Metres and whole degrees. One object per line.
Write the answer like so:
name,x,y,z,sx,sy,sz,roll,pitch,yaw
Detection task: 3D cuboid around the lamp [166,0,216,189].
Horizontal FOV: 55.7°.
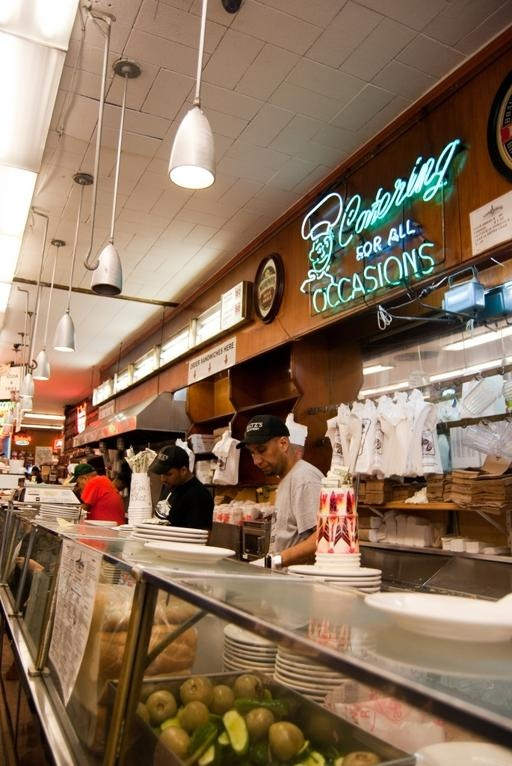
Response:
lamp,-0.273,-1.280,2.102,0.189,0.919,0.319,2,-10,-9

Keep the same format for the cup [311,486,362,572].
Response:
cup,0.216,0.395,1.319,0.113,0.215,0.200,-2,-10,11

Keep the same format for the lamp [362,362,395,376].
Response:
lamp,1.082,-0.097,4.211,0.035,0.074,0.475,13,-13,-37

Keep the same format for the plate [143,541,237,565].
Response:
plate,-0.163,0.421,1.191,0.119,0.021,0.119,9,-9,-8

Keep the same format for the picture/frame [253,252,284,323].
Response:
picture/frame,0.133,-0.946,4.859,0.076,0.744,0.621,8,-18,-20

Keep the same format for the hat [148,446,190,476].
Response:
hat,-0.584,0.523,3.252,0.244,0.148,0.161,0,-1,-40

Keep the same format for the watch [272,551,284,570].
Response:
watch,0.079,0.611,1.678,0.042,0.056,0.055,-4,7,5

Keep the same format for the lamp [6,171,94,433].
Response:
lamp,-2.973,-1.046,6.995,0.716,2.997,2.645,7,-18,-17

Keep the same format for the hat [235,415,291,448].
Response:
hat,0.042,0.251,2.512,0.223,0.122,0.155,1,-13,-30

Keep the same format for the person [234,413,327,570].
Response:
person,0.097,0.467,2.248,0.412,0.707,0.960,-1,-10,7
